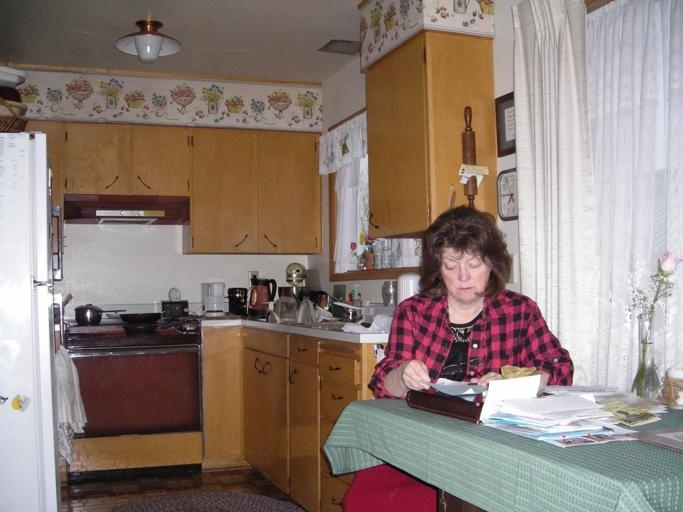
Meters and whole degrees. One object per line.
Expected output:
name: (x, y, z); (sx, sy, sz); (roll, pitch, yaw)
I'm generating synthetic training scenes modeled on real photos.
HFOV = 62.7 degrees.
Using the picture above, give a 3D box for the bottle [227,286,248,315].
bottle: (-0.901, 0.376, 4.695); (0.169, 0.201, 0.203); (1, -4, -22)

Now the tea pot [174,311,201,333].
tea pot: (-1.135, 0.486, 4.136); (0.128, 0.092, 0.137); (-1, 5, 0)

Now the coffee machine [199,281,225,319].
coffee machine: (-1.062, 0.354, 4.703); (0.186, 0.285, 0.287); (0, 1, -1)

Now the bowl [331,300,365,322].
bowl: (0.072, 0.393, 3.811); (0.164, 0.075, 0.193); (3, -4, 37)

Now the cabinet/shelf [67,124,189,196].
cabinet/shelf: (-1.835, -0.894, 4.711); (0.949, 0.622, 0.488); (-5, 32, -32)

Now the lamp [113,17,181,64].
lamp: (-1.310, -1.435, 3.782); (0.417, 0.226, 0.424); (-3, 1, 7)

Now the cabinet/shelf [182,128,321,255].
cabinet/shelf: (-0.768, -0.544, 4.941); (1.081, 1.085, 0.353); (-1, 7, -16)

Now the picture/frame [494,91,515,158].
picture/frame: (0.851, -0.681, 2.897); (0.075, 0.324, 0.179); (-8, 5, -18)

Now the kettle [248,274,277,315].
kettle: (-0.611, 0.327, 4.599); (0.298, 0.331, 0.201); (8, -11, -43)

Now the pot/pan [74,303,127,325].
pot/pan: (-1.788, 0.428, 4.109); (0.292, 0.122, 0.162); (1, -4, -4)
